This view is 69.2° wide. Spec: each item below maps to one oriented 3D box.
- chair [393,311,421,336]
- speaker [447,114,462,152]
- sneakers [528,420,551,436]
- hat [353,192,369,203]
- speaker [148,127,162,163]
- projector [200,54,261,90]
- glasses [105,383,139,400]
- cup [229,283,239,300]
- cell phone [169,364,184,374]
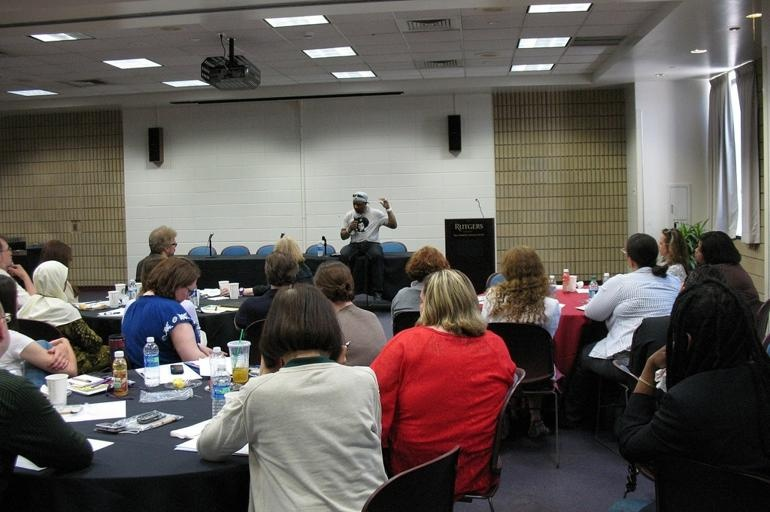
[{"bbox_3d":[0.164,0.534,4.499,0.171,0.304,0.210,1,9,1],"label":"chair"},{"bbox_3d":[1.410,-2.461,11.216,0.299,0.791,0.208,-3,2,7],"label":"speaker"},{"bbox_3d":[1.235,1.381,4.532,0.192,0.135,0.088,-2,1,-37],"label":"sneakers"},{"bbox_3d":[-0.370,-0.965,9.066,0.199,0.145,0.278,-1,-2,16],"label":"hat"},{"bbox_3d":[-4.905,-2.376,11.984,0.340,0.722,0.274,-3,2,1],"label":"speaker"},{"bbox_3d":[-2.161,-2.651,7.904,0.684,0.391,0.473,-3,1,3],"label":"projector"},{"bbox_3d":[-1.518,0.788,3.257,0.134,0.134,0.085,-1,-4,19],"label":"glasses"},{"bbox_3d":[-1.706,0.390,6.367,0.133,0.161,0.158,0,-2,-11],"label":"cup"},{"bbox_3d":[-1.294,0.707,3.481,0.066,0.068,0.064,0,-2,-3],"label":"cell phone"}]
